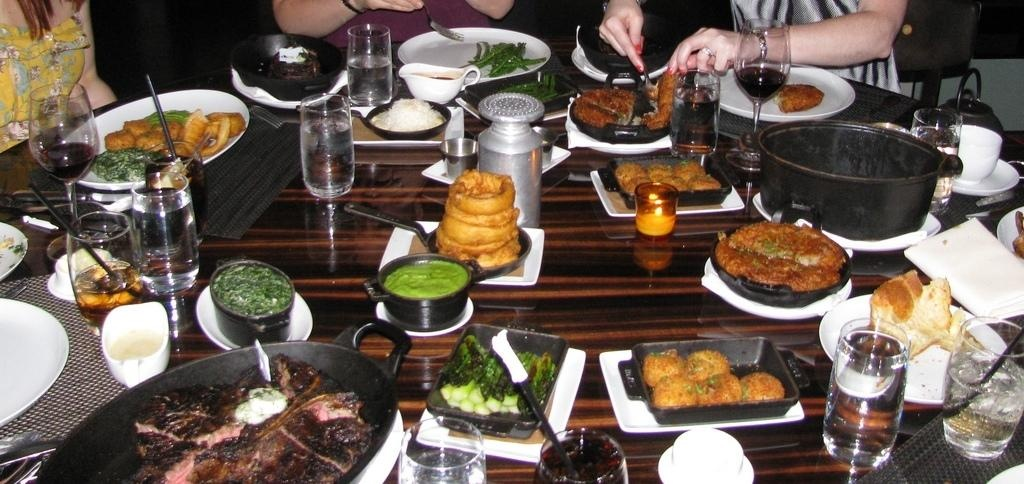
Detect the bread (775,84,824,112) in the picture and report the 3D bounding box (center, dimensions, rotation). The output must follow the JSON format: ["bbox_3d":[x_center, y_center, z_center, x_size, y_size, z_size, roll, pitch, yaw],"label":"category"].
[{"bbox_3d":[1.654,-0.826,3.698,0.239,0.056,0.181,-7,35,-7],"label":"bread"}]

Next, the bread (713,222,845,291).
[{"bbox_3d":[1.171,0.046,2.805,0.424,0.060,0.305,5,45,14],"label":"bread"}]

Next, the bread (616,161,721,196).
[{"bbox_3d":[0.759,-0.329,3.193,0.391,0.046,0.212,-4,33,-10],"label":"bread"}]

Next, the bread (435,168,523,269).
[{"bbox_3d":[-0.128,-0.115,2.968,0.470,0.382,0.434,13,25,15],"label":"bread"}]

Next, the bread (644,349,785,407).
[{"bbox_3d":[0.775,0.513,2.482,0.423,0.061,0.225,0,30,-5],"label":"bread"}]

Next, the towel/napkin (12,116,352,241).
[{"bbox_3d":[-1.366,-0.338,3.283,0.780,0.004,0.860,30,48,20],"label":"towel/napkin"}]

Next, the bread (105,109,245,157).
[{"bbox_3d":[-1.737,-0.586,3.431,0.456,0.085,0.417,-8,25,-12],"label":"bread"}]

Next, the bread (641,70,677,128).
[{"bbox_3d":[0.853,-0.761,3.546,0.250,0.297,0.098,-1,-22,43],"label":"bread"}]

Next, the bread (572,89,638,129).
[{"bbox_3d":[0.513,-0.711,3.538,0.293,0.070,0.256,2,38,-3],"label":"bread"}]
